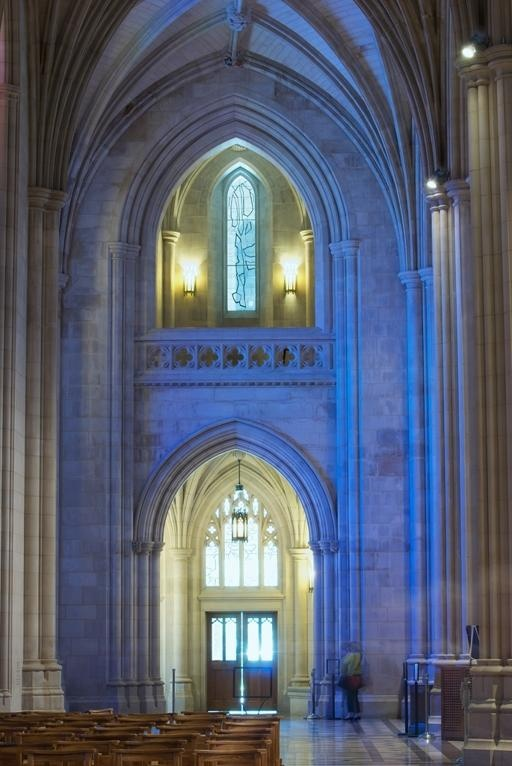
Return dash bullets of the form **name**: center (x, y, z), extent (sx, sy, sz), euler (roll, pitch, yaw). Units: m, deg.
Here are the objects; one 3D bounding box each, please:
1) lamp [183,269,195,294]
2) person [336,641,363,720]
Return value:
- **lamp**: center (-1.160, -1.732, 32.210), extent (0.219, 0.478, 0.120), euler (-1, -8, -5)
- **person**: center (1.410, 4.360, 26.874), extent (0.349, 1.109, 0.541), euler (-2, -9, 3)
